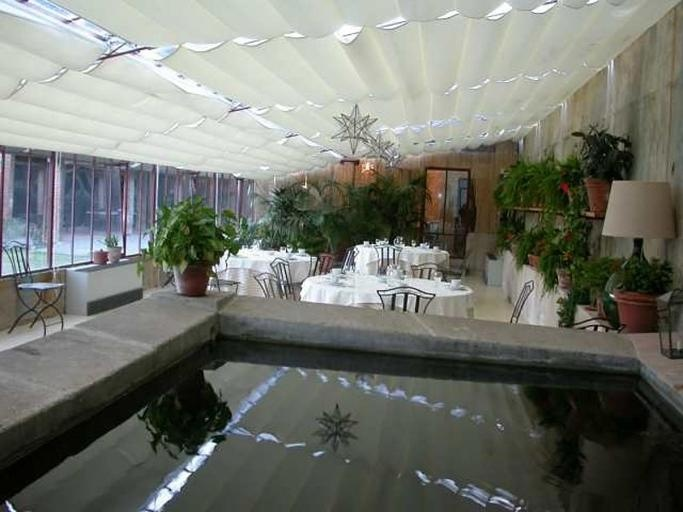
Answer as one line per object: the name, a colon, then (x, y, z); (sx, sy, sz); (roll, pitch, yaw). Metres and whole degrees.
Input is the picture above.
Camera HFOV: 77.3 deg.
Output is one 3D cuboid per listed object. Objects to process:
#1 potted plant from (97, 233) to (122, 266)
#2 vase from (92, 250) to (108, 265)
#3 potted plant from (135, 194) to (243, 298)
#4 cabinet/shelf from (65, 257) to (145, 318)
potted plant: (-4.133, -0.104, 7.491); (0.494, 0.552, 0.367); (0, 3, 20)
vase: (-4.092, 0.036, 7.256); (0.239, 0.253, 0.192); (2, 2, 41)
potted plant: (-0.996, -0.032, 2.902); (0.506, 0.578, 0.540); (-1, -2, 10)
cabinet/shelf: (-3.962, 0.513, 7.319); (0.333, 0.769, 1.549); (7, 6, 7)
